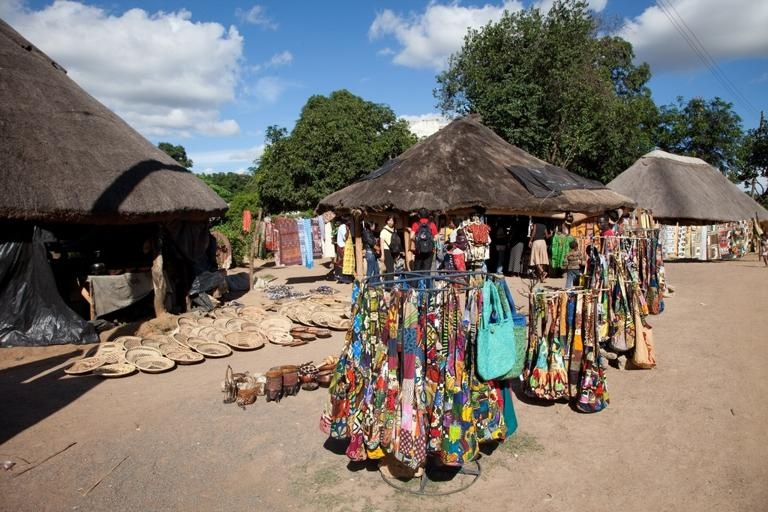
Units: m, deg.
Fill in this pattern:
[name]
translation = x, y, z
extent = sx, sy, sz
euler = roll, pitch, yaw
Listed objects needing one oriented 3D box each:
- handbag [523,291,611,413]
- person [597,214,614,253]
[handbag]
translation = 2.791, 1.473, 7.795
extent = 1.200, 1.883, 0.318
euler = -4, 3, 14
[person]
translation = 4.309, -0.345, 9.736
extent = 0.278, 0.919, 0.320
euler = 2, 47, 28
